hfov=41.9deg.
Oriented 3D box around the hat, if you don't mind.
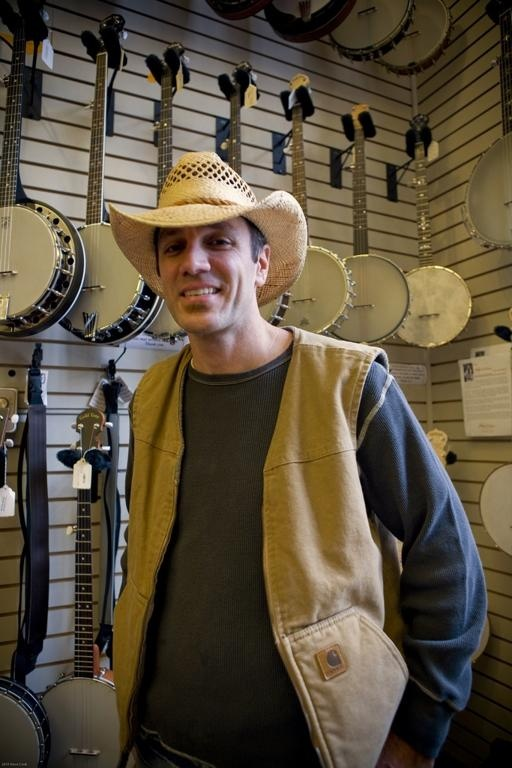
[{"bbox_3d":[-0.049,-0.345,1.525,0.366,0.203,0.439,-8,-29,22],"label":"hat"}]
